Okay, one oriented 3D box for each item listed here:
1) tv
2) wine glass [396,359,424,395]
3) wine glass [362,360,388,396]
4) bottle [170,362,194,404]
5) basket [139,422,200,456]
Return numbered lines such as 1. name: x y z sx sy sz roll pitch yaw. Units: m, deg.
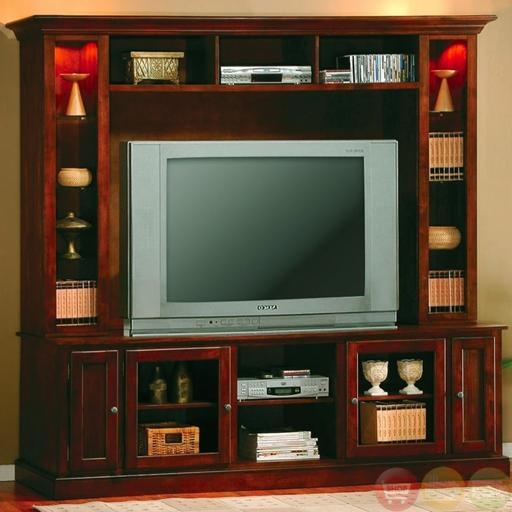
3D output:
1. tv: -0.025 -0.085 3.752 1.461 0.925 0.776 -1 3 -17
2. wine glass: 0.780 0.604 3.514 0.138 0.168 0.134 7 -11 -38
3. wine glass: 0.595 0.605 3.477 0.137 0.165 0.137 -3 -10 15
4. bottle: -0.347 0.592 3.279 0.092 0.188 0.047 -1 -8 -10
5. basket: -0.391 0.849 3.203 0.176 0.078 0.171 2 -5 -15
